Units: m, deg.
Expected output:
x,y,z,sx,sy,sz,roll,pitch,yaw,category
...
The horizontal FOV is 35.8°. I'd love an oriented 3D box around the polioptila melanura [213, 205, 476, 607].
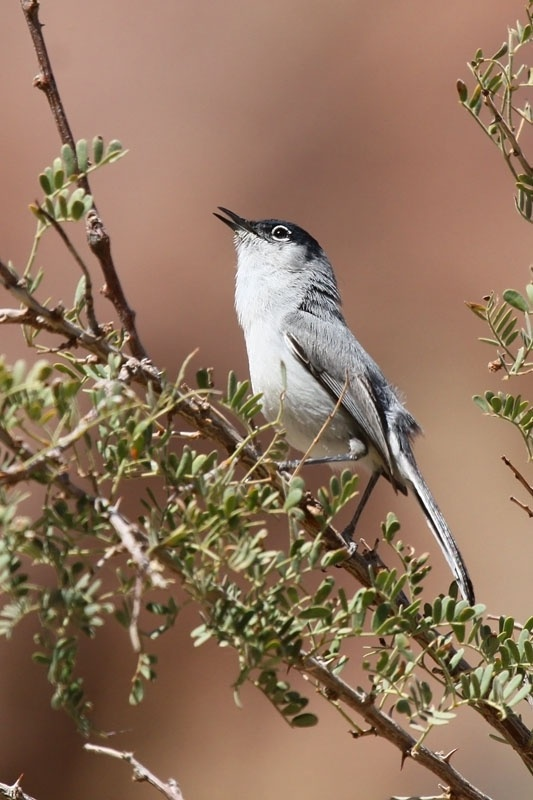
x,y,z,sx,sy,sz,roll,pitch,yaw,category
0.192,-0.012,2.441,0.474,1.267,0.486,-10,-29,4,polioptila melanura
